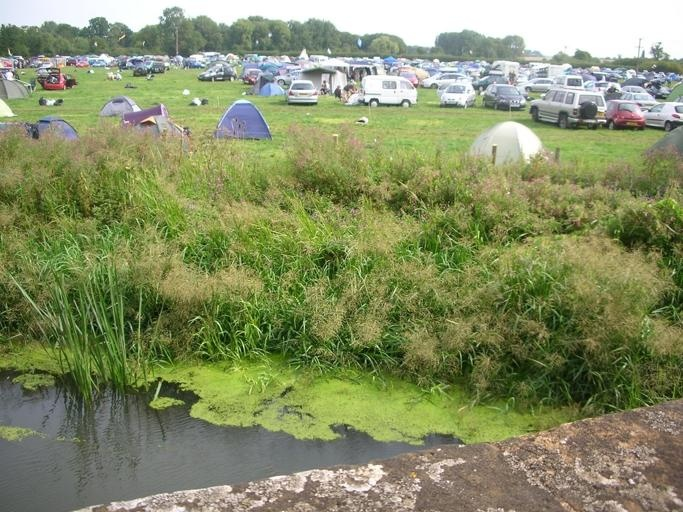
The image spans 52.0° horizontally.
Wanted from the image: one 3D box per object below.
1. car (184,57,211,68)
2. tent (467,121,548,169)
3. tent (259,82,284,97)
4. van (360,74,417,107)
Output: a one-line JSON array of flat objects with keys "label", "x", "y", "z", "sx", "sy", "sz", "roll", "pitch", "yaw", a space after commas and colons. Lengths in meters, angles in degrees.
[{"label": "car", "x": -17.803, "y": -23.674, "z": 86.172, "sx": 1.975, "sy": 1.108, "sz": 3.095, "roll": 5, "pitch": 24, "yaw": -2}, {"label": "tent", "x": 3.284, "y": -2.209, "z": 13.812, "sx": 1.425, "sy": 0.751, "sz": 4.082, "roll": 7, "pitch": 15, "yaw": 10}, {"label": "tent", "x": -3.717, "y": -9.112, "z": 37.865, "sx": 1.400, "sy": 0.734, "sz": 1.147, "roll": -3, "pitch": 16, "yaw": -24}, {"label": "van", "x": 2.264, "y": -7.812, "z": 32.780, "sx": 2.234, "sy": 1.290, "sz": 1.501, "roll": -2, "pitch": 35, "yaw": -2}]
